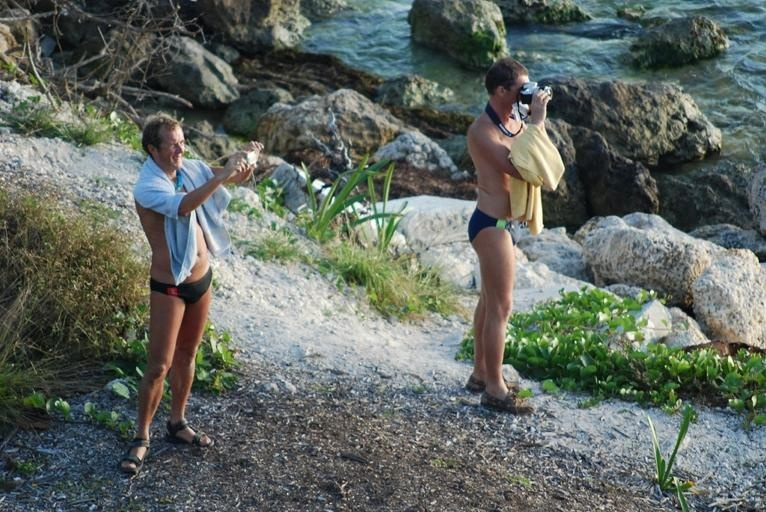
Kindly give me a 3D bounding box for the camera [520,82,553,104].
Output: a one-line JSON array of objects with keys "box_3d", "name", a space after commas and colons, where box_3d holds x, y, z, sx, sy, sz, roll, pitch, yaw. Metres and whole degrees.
[{"box_3d": [2.172, -2.328, 18.000, 0.339, 0.231, 0.377, 1, 41, 5], "name": "camera"}]
